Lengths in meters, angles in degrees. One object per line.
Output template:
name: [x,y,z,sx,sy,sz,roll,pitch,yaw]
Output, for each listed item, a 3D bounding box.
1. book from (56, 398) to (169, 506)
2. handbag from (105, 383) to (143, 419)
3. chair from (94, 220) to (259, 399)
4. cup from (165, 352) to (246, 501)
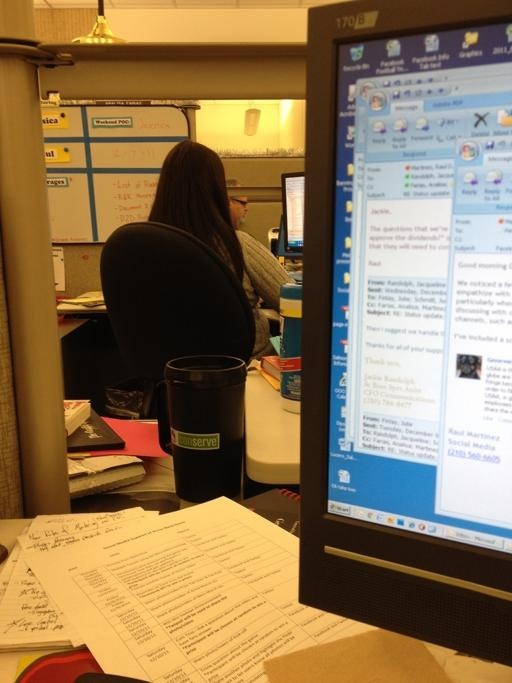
book: [-0.190,0.144,0.773,0.130,0.044,0.276,-5,13,-18]
handbag: [-0.275,0.127,1.194,0.070,0.065,0.094,6,16,5]
chair: [-0.160,-0.135,1.379,0.320,0.449,0.380,9,25,16]
cup: [-0.055,0.113,0.668,0.085,0.205,0.170,-1,12,-1]
